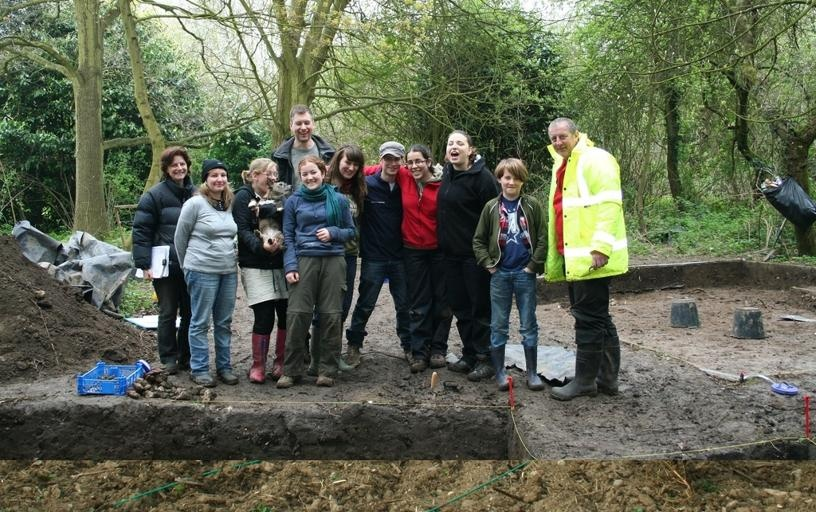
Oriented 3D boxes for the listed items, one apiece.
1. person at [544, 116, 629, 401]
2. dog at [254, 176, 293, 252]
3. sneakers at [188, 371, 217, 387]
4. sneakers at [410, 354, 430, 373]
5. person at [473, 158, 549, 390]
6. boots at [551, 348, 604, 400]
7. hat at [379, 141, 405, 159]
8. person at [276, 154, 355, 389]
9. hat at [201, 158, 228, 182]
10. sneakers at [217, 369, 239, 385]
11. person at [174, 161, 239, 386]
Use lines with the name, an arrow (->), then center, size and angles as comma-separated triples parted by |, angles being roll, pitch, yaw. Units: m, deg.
person -> 2.600, 0.027, 11.575 | 1.155, 4.147, 0.586 | -1, 2, 12
dog -> -1.991, -0.637, 11.897 | 0.383, 1.025, 0.546 | 5, -5, -6
sneakers -> -3.034, 1.818, 11.684 | 0.379, 0.148, 0.181 | 3, 3, 38
sneakers -> 0.158, 1.655, 12.182 | 0.292, 0.246, 0.208 | -1, 3, 7
person -> 1.537, 0.275, 11.793 | 1.064, 3.467, 0.439 | -1, 2, 8
boots -> 2.425, 1.736, 11.662 | 0.822, 0.764, 0.397 | 1, 2, -11
hat -> -0.263, -1.643, 12.125 | 0.346, 0.281, 0.416 | -1, 3, 20
person -> -1.399, 0.239, 11.705 | 1.091, 3.415, 0.312 | -2, 2, -6
hat -> -2.895, -1.302, 11.753 | 0.341, 0.298, 0.349 | -14, 5, -41
sneakers -> -2.704, 1.811, 11.820 | 0.165, 0.143, 0.374 | -13, 10, -43
person -> -2.971, 0.253, 11.681 | 0.896, 3.354, 0.344 | -2, 3, -17
